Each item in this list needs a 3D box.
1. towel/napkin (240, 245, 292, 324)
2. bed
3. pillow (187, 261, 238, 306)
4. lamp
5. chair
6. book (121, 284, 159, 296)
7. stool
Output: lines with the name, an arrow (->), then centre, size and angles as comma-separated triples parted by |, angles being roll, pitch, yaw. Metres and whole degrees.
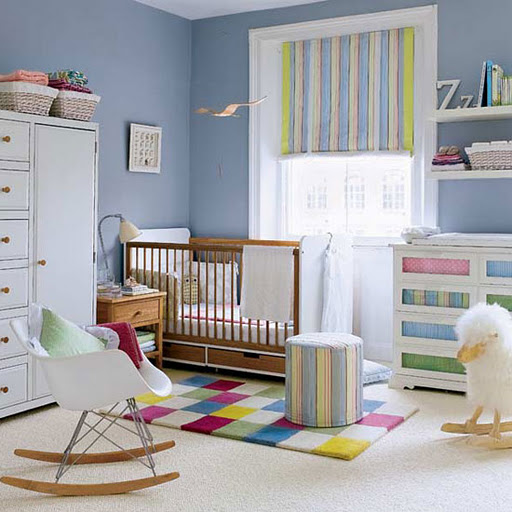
towel/napkin -> 0.069, 0.182, 3.444 | 0.375, 0.472, 0.084 | 1, 2, 35
bed -> -0.128, 0.382, 4.063 | 1.814, 1.166, 0.976 | 2, 4, 29
pillow -> -0.334, 0.214, 3.999 | 0.422, 0.358, 0.219 | 0, -2, 15
lamp -> -1.002, -0.069, 3.864 | 0.286, 0.512, 0.592 | -1, 2, -16
chair -> -0.615, 0.593, 2.271 | 0.878, 0.718, 0.606 | -2, 2, -8
book -> -0.795, 0.232, 3.683 | 0.120, 0.070, 0.290 | 1, 2, 41
stool -> 0.335, 0.640, 2.796 | 0.477, 0.407, 0.433 | -1, 1, 2
